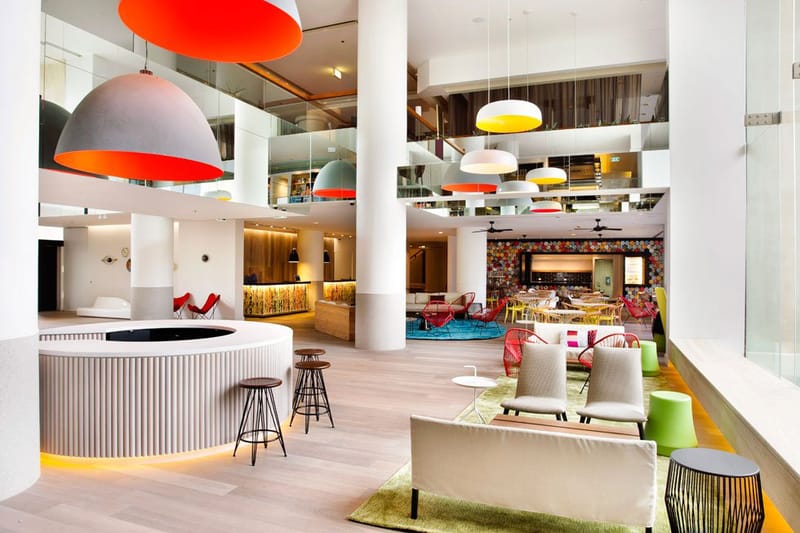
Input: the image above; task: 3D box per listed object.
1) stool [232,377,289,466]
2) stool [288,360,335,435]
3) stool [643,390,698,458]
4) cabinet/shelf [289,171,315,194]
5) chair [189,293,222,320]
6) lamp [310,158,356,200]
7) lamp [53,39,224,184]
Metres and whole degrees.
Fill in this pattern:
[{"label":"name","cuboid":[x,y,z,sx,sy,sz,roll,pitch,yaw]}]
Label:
[{"label":"stool","cuboid":[-1.781,1.959,7.313,0.711,0.879,0.713,-1,-3,10]},{"label":"stool","cuboid":[-1.256,1.829,8.241,0.708,0.831,0.701,0,-2,6]},{"label":"stool","cuboid":[3.512,2.003,7.392,0.679,0.674,0.646,3,6,28]},{"label":"cabinet/shelf","cuboid":[-2.298,-1.921,13.372,0.670,0.604,0.219,2,0,4]},{"label":"chair","cuboid":[-5.649,1.177,16.699,0.892,0.834,0.871,1,1,-23]},{"label":"lamp","cuboid":[-1.386,-1.991,12.841,0.626,0.882,1.272,-1,0,20]},{"label":"lamp","cuboid":[-2.675,-1.426,6.129,1.415,1.549,1.462,-1,6,-16]}]
